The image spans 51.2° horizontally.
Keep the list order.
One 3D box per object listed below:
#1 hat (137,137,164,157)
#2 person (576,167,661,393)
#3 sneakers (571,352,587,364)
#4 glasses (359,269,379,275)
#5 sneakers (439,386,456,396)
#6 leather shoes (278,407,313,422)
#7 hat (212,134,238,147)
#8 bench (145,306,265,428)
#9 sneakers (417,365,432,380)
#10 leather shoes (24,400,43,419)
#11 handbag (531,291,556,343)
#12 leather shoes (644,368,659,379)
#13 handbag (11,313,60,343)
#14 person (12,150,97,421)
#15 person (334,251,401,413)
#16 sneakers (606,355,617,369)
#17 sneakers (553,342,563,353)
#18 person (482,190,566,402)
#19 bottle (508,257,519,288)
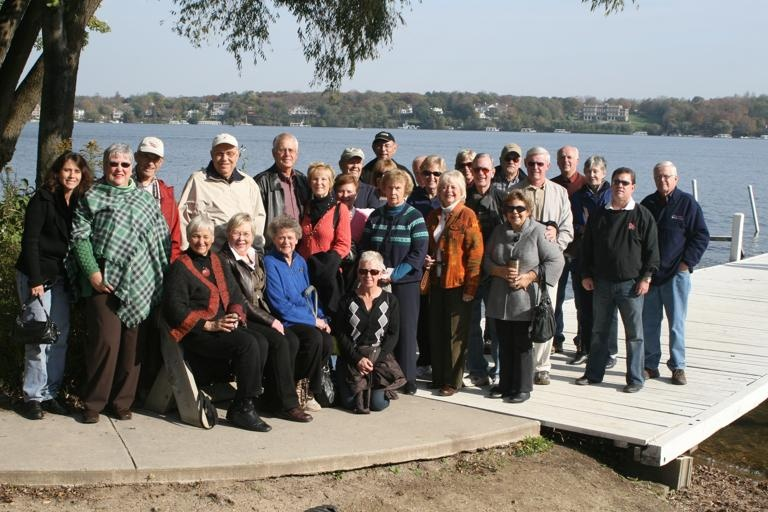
[{"bbox_3d":[-2.536,-1.205,8.704,0.219,0.152,0.298,20,-2,-31],"label":"hat"},{"bbox_3d":[2.803,0.262,9.574,0.899,2.623,0.470,5,10,17],"label":"person"},{"bbox_3d":[2.588,1.342,10.593,0.268,0.108,0.104,-13,14,-33],"label":"sneakers"},{"bbox_3d":[-0.161,0.168,8.852,0.217,0.069,0.044,2,9,-3],"label":"glasses"},{"bbox_3d":[0.747,1.556,9.295,0.181,0.071,0.083,7,-10,-37],"label":"sneakers"},{"bbox_3d":[-0.926,1.666,8.516,0.376,0.151,0.136,1,10,15],"label":"leather shoes"},{"bbox_3d":[-1.823,-1.326,9.166,0.280,0.140,0.351,0,9,-14],"label":"hat"},{"bbox_3d":[-1.786,1.110,8.459,1.167,1.103,0.997,2,-1,15],"label":"bench"},{"bbox_3d":[0.511,1.430,9.927,0.153,0.059,0.166,-1,33,6],"label":"sneakers"},{"bbox_3d":[-3.625,1.543,8.242,0.184,0.147,0.357,-3,10,-30],"label":"leather shoes"},{"bbox_3d":[1.812,0.706,9.086,0.256,0.606,0.317,4,10,12],"label":"handbag"},{"bbox_3d":[3.363,1.466,10.020,0.090,0.111,0.272,-2,-7,40],"label":"leather shoes"},{"bbox_3d":[-3.504,0.714,8.068,0.331,0.291,0.125,0,1,-8],"label":"handbag"},{"bbox_3d":[-3.460,0.275,8.220,0.546,2.672,0.684,3,10,4],"label":"person"},{"bbox_3d":[-0.129,0.808,8.849,0.736,1.703,0.599,-1,10,-17],"label":"person"},{"bbox_3d":[2.994,1.356,10.475,0.100,0.102,0.232,6,24,35],"label":"sneakers"},{"bbox_3d":[2.423,1.250,11.054,0.137,0.147,0.114,-3,10,-27],"label":"sneakers"},{"bbox_3d":[1.580,0.435,9.233,0.902,2.387,0.610,4,10,11],"label":"person"},{"bbox_3d":[1.494,0.176,9.135,0.121,0.327,0.149,4,10,11],"label":"bottle"}]
